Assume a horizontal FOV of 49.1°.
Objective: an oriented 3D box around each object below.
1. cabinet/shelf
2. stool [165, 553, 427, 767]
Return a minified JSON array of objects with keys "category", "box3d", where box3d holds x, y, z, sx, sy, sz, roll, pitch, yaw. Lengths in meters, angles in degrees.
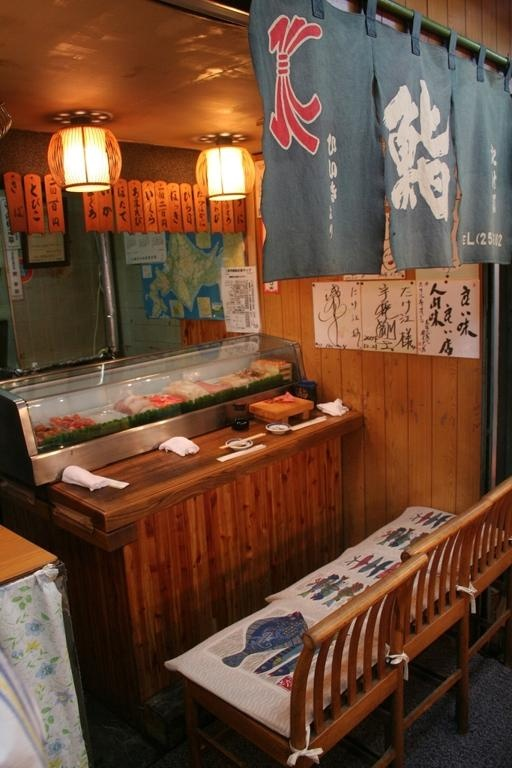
[{"category":"cabinet/shelf","box3d":[-0.320,0.795,2.796,0.463,0.968,1.379,15,23,40]},{"category":"stool","box3d":[0.161,1.126,2.245,0.653,1.050,0.677,-21,30,-40]}]
